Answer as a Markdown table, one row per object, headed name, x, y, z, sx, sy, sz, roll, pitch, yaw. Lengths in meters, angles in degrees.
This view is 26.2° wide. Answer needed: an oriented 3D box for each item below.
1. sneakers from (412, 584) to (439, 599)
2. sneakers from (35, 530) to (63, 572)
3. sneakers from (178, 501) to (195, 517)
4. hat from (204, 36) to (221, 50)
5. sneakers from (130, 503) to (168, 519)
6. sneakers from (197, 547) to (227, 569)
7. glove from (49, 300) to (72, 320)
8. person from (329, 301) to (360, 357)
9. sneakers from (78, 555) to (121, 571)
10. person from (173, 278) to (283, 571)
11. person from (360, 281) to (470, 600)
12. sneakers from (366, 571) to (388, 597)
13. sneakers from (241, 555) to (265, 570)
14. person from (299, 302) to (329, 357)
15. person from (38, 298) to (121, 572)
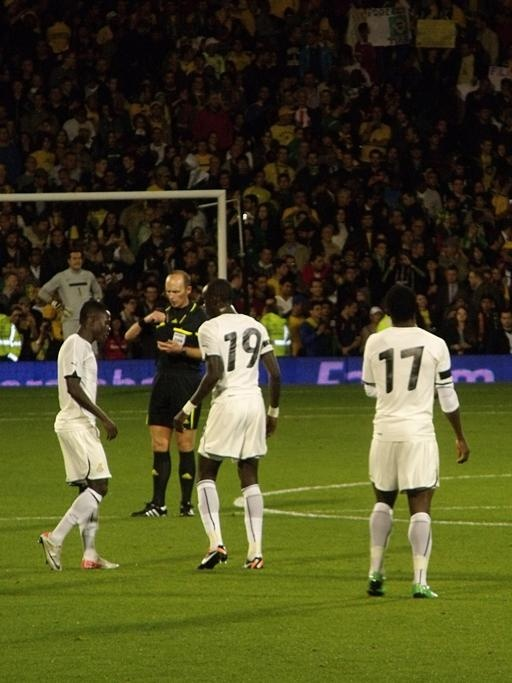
| name | x | y | z | sx | sy | sz | roll | pitch | yaw |
| --- | --- | --- | --- | --- | --- | --- | --- | --- | --- |
| sneakers | 0.795 | 1.158 | 5.129 | 0.144 | 0.060 | 0.059 | -1 | -1 | -32 |
| sneakers | -1.095 | 1.121 | 5.928 | 0.115 | 0.264 | 0.100 | -14 | 6 | 17 |
| sneakers | -0.516 | 1.258 | 8.278 | 0.059 | 0.119 | 0.171 | 4 | 11 | 8 |
| hat | -1.015 | -6.805 | 24.966 | 0.255 | 0.102 | 0.326 | -5 | -38 | -10 |
| sneakers | -0.791 | 1.261 | 8.218 | 0.284 | 0.122 | 0.100 | 1 | -3 | 2 |
| sneakers | -0.228 | 1.175 | 6.005 | 0.083 | 0.091 | 0.220 | 22 | -32 | -26 |
| glove | -3.061 | -0.513 | 17.185 | 0.474 | 0.144 | 0.291 | 27 | -19 | -25 |
| person | 1.696 | -0.244 | 20.622 | 0.534 | 1.028 | 0.420 | 1 | 5 | 16 |
| sneakers | -0.872 | 1.226 | 6.113 | 0.229 | 0.090 | 0.073 | -2 | 1 | 0 |
| person | -0.167 | 0.484 | 6.258 | 0.581 | 1.675 | 0.919 | 0 | 5 | 1 |
| person | 0.726 | 0.475 | 5.193 | 0.504 | 1.477 | 0.481 | 1 | 5 | 14 |
| sneakers | 0.582 | 1.142 | 5.207 | 0.087 | 0.116 | 0.122 | 4 | 14 | 7 |
| sneakers | -0.017 | 1.207 | 6.054 | 0.102 | 0.087 | 0.121 | 0 | 4 | -2 |
| person | 1.090 | -0.211 | 20.551 | 0.553 | 1.022 | 0.636 | 0 | 5 | 2 |
| person | -0.971 | 0.621 | 6.054 | 0.396 | 1.308 | 0.527 | 0 | 5 | -2 |
